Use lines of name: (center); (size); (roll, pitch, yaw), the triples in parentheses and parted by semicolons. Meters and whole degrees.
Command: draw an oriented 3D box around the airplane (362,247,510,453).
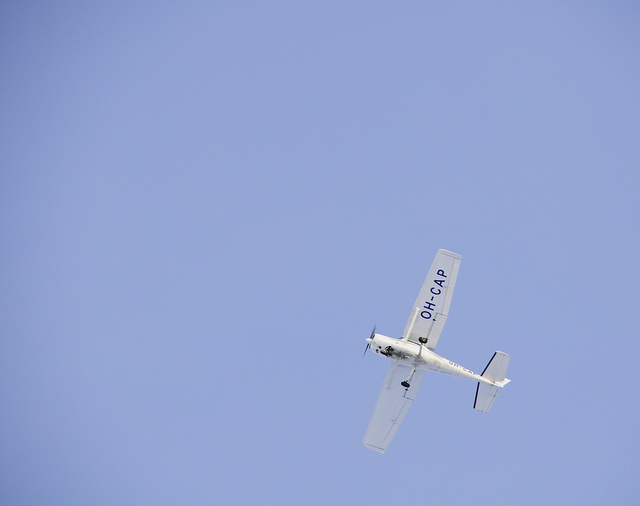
airplane: (3.728, 3.390, 35.449); (4.680, 2.301, 7.123); (29, 29, 22)
